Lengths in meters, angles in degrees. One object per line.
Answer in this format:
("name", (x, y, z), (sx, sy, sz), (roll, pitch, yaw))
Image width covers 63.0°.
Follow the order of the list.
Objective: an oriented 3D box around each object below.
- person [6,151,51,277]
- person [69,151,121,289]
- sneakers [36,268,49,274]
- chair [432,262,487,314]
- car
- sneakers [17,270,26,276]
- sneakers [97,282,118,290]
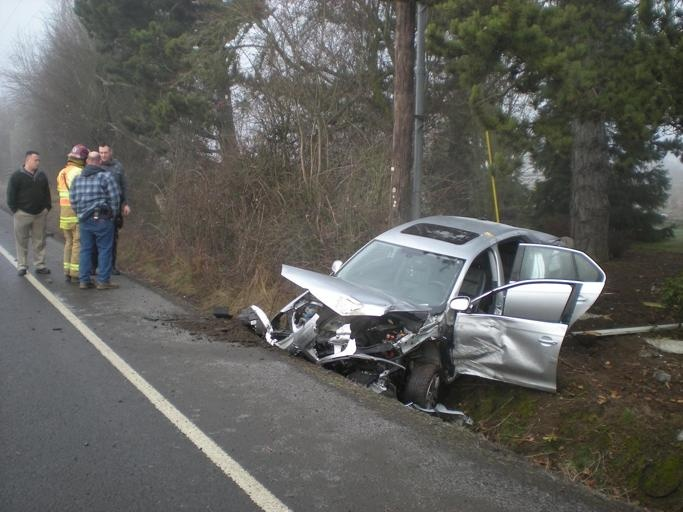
("person", (-6.020, -0.851, 10.849), (0.765, 2.343, 0.711), (-8, 19, -41))
("person", (-4.361, -0.615, 9.948), (0.801, 2.416, 0.605), (-1, 15, -21))
("sneakers", (-5.854, 0.290, 10.984), (0.223, 0.105, 0.099), (-1, 10, -8))
("chair", (1.646, 0.416, 7.692), (0.346, 0.535, 0.554), (21, 24, 6))
("car", (1.165, 0.800, 7.323), (3.844, 2.101, 2.335), (5, 14, 2))
("sneakers", (-6.110, 0.299, 10.705), (0.139, 0.124, 0.121), (-3, 16, -25))
("sneakers", (-4.212, 0.527, 10.110), (0.354, 0.156, 0.132), (-7, 16, -32))
